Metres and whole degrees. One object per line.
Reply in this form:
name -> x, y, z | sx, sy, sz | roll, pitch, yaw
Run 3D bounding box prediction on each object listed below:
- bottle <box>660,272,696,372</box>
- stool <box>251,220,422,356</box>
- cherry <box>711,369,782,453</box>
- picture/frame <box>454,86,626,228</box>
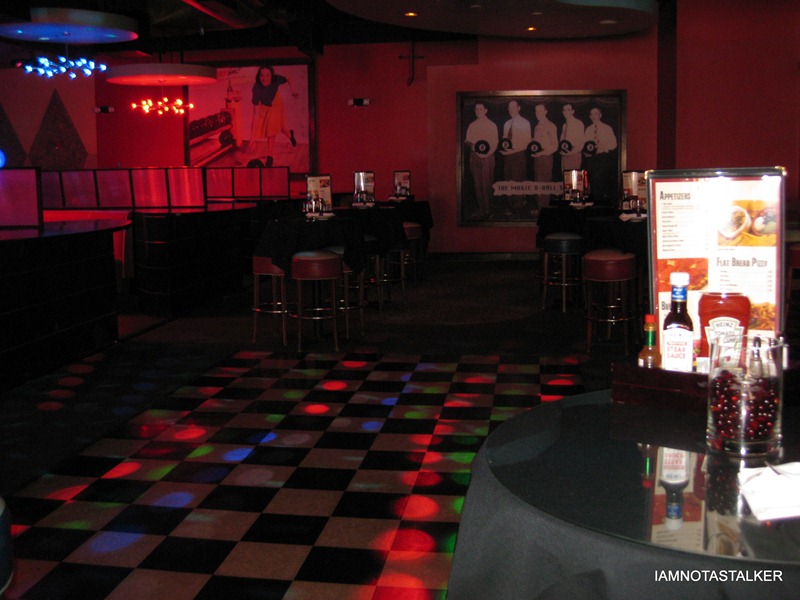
bottle -> 0.624, 0.045, 1.381 | 0.073, 0.212, 0.122 | 4, 12, 23
stool -> -0.656, -0.282, 5.621 | 1.302, 0.985, 2.074 | 2, 17, 5
cherry -> 0.601, 0.188, 1.133 | 0.145, 0.152, 0.137 | -2, 3, -10
picture/frame -> 2.389, -2.369, 10.595 | 2.984, 2.292, 0.113 | 9, 9, 35
